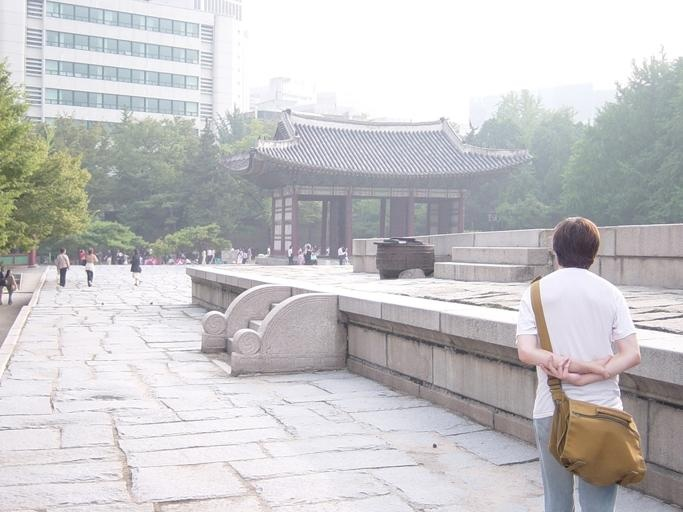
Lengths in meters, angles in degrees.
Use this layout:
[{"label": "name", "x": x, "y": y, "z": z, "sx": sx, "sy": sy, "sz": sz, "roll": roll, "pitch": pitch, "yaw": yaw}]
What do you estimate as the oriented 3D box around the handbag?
[{"label": "handbag", "x": 1.593, "y": 1.167, "z": 4.757, "sx": 0.552, "sy": 0.557, "sz": 0.223, "roll": 5, "pitch": -2, "yaw": 3}]
